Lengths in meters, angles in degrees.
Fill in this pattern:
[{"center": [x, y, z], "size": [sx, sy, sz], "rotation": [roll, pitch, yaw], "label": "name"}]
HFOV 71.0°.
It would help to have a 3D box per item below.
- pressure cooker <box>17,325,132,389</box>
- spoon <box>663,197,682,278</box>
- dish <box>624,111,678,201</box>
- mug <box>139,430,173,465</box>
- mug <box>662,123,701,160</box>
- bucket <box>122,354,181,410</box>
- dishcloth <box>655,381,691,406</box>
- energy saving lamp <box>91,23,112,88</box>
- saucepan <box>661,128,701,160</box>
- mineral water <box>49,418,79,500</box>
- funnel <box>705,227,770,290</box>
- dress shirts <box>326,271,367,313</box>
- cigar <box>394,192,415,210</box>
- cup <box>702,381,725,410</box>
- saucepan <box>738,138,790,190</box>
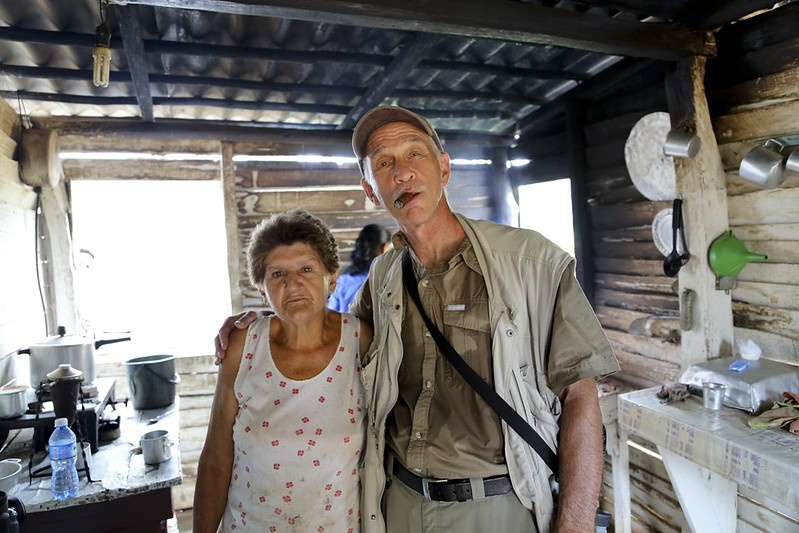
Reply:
[{"center": [-2.598, 0.714, 4.552], "size": [0.496, 0.407, 0.985], "rotation": [-1, -2, 30], "label": "pressure cooker"}, {"center": [2.146, -0.226, 4.417], "size": [0.139, 0.580, 0.086], "rotation": [4, 2, 9], "label": "spoon"}, {"center": [2.059, -0.880, 4.594], "size": [0.374, 0.754, 0.295], "rotation": [-4, -1, 32], "label": "dish"}, {"center": [-1.691, 1.277, 3.962], "size": [0.230, 0.169, 0.173], "rotation": [0, 2, 20], "label": "mug"}, {"center": [2.158, -0.916, 4.279], "size": [0.257, 0.246, 0.186], "rotation": [33, -8, -19], "label": "mug"}, {"center": [-2.100, 1.000, 4.863], "size": [0.497, 0.410, 0.427], "rotation": [-1, -2, -21], "label": "bucket"}, {"center": [2.070, 0.963, 4.246], "size": [0.171, 0.063, 0.145], "rotation": [-19, 34, 6], "label": "dishcloth"}, {"center": [-1.968, -1.398, 3.707], "size": [0.102, 0.450, 0.192], "rotation": [-3, -1, -28], "label": "energy saving lamp"}, {"center": [2.143, -0.933, 4.256], "size": [0.248, 0.242, 0.219], "rotation": [-4, -2, 29], "label": "saucepan"}, {"center": [-2.238, 1.277, 3.713], "size": [0.181, 0.529, 0.186], "rotation": [-4, 0, 9], "label": "mineral water"}, {"center": [2.533, -0.081, 4.281], "size": [0.337, 0.478, 0.383], "rotation": [11, 16, 43], "label": "funnel"}, {"center": [-0.453, 0.226, 4.719], "size": [0.318, 0.298, 0.176], "rotation": [-10, -39, 33], "label": "dress shirts"}, {"center": [0.031, -0.371, 3.162], "size": [0.070, 0.021, 0.069], "rotation": [-44, 40, -15], "label": "cigar"}, {"center": [2.258, 0.938, 4.042], "size": [0.158, 0.158, 0.172], "rotation": [2, -8, 0], "label": "cup"}, {"center": [2.565, -0.764, 4.020], "size": [0.219, 0.366, 0.407], "rotation": [26, 37, 31], "label": "saucepan"}]
